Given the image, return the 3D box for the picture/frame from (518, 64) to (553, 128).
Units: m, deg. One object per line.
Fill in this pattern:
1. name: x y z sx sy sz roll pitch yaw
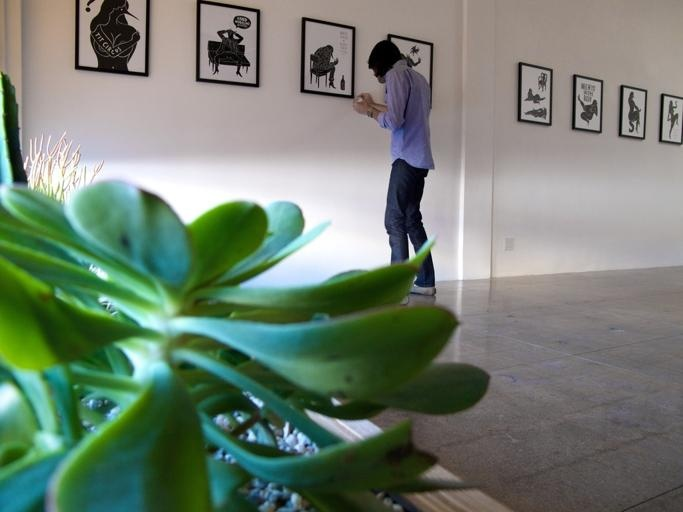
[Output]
1. picture/frame: 1.993 -1.676 4.689 0.616 0.819 0.050 1 -1 -33

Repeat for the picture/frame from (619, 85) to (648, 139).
1. picture/frame: 3.492 -1.735 5.441 0.609 0.806 0.050 4 -5 -38

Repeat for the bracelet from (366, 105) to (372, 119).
1. bracelet: 0.231 -1.146 3.621 0.042 0.072 0.070 14 41 14

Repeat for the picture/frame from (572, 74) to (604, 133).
1. picture/frame: 2.733 -1.709 5.044 0.632 0.808 0.049 2 -2 -38

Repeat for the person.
1. person: 0.462 -0.751 3.578 0.685 1.435 0.573 4 2 11
